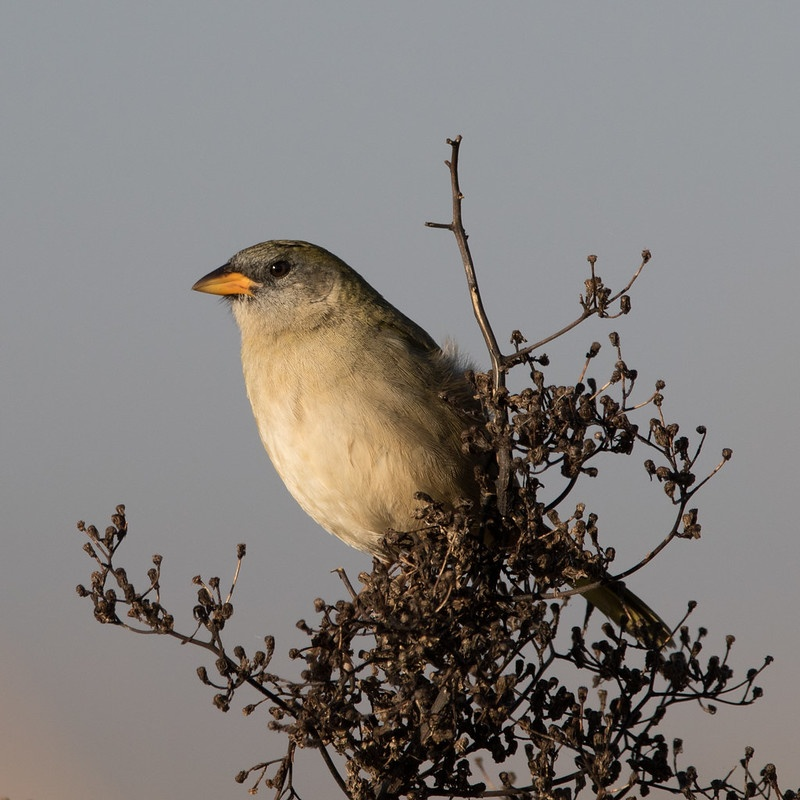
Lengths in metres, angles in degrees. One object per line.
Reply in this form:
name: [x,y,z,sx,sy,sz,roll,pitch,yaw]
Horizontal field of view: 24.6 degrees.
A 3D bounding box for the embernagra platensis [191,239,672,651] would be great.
embernagra platensis: [0.023,0.077,6.536,1.590,1.188,0.796,2,-7,-36]
